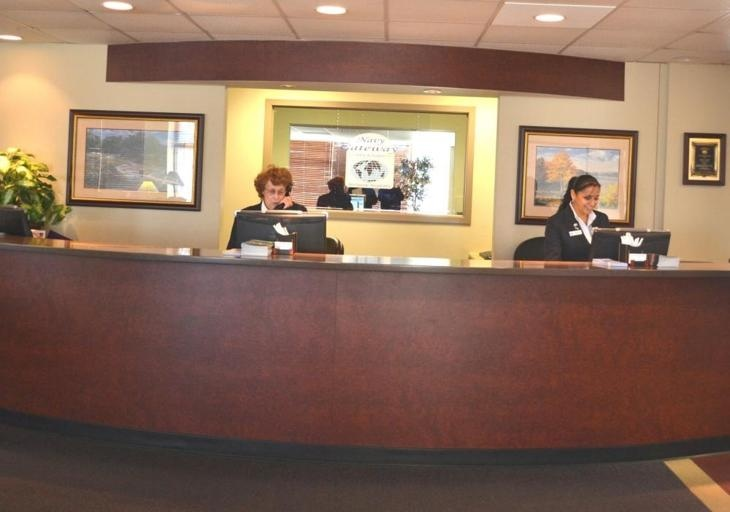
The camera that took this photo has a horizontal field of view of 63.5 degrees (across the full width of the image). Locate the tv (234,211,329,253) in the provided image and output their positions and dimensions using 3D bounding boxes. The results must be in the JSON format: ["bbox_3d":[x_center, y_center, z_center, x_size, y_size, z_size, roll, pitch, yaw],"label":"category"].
[{"bbox_3d":[-0.675,-0.349,4.752,0.707,0.623,0.359,1,7,-5],"label":"tv"}]

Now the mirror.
[{"bbox_3d":[-0.004,-1.363,8.591,3.269,1.754,0.126,5,8,19],"label":"mirror"}]

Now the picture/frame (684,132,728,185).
[{"bbox_3d":[3.971,-1.164,6.886,0.632,0.799,0.059,0,3,4],"label":"picture/frame"}]

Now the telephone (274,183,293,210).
[{"bbox_3d":[-0.847,-0.624,6.206,0.203,0.259,0.105,1,10,-2],"label":"telephone"}]

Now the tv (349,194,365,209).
[{"bbox_3d":[-0.110,-0.774,8.530,0.259,0.241,0.185,0,-1,-2],"label":"tv"}]

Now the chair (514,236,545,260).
[{"bbox_3d":[1.932,-0.062,6.917,0.258,0.281,0.335,-5,12,25],"label":"chair"}]

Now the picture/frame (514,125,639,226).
[{"bbox_3d":[2.419,-0.960,6.798,1.236,1.015,0.049,2,-3,-1],"label":"picture/frame"}]

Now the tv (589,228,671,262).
[{"bbox_3d":[2.130,-0.085,4.729,0.540,0.267,0.491,2,-1,4],"label":"tv"}]

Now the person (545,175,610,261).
[{"bbox_3d":[2.083,-0.384,5.836,0.417,0.827,0.720,12,17,40],"label":"person"}]

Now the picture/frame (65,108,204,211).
[{"bbox_3d":[-2.731,-1.207,7.091,1.255,0.892,0.052,2,0,-1],"label":"picture/frame"}]

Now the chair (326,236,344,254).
[{"bbox_3d":[-0.307,-0.067,5.861,0.133,0.171,0.171,7,49,0],"label":"chair"}]
